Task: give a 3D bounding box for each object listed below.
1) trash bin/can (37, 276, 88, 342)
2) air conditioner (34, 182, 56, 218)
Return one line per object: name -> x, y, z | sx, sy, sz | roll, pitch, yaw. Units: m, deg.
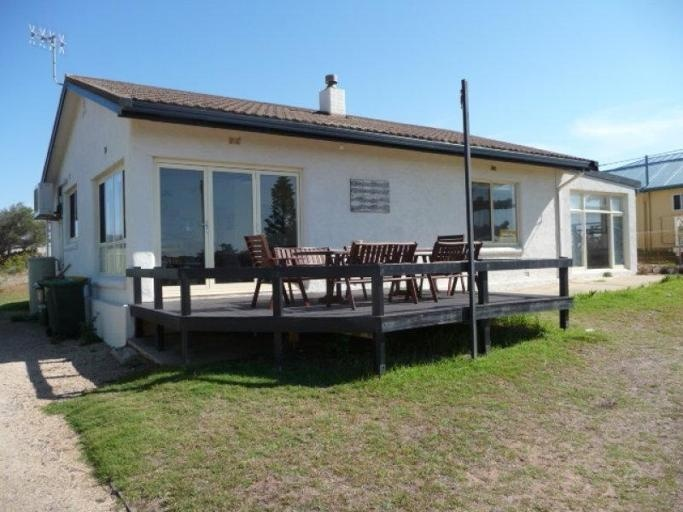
trash bin/can -> -6.155, 1.180, 13.510 | 0.995, 1.374, 0.952 | -1, 0, -9
air conditioner -> -8.965, -1.700, 18.333 | 0.499, 0.943, 0.897 | 2, -16, -35
